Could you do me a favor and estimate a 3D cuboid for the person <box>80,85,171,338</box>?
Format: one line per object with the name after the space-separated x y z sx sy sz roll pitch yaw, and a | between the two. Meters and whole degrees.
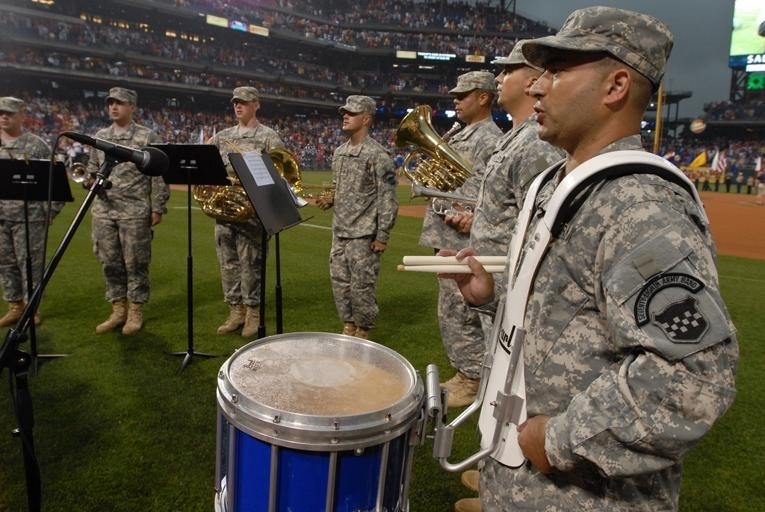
-2.958 -0.387 7.070 1.126 2.902 1.382 0 3 -15 | person

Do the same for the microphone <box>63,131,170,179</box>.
-1.721 -0.667 4.045 0.745 0.237 0.221 16 13 -32 | microphone

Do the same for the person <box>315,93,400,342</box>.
-0.239 -0.426 6.575 0.753 2.652 1.178 0 11 -6 | person

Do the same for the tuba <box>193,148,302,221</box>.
-1.312 -0.691 5.795 0.495 1.293 0.693 4 54 -5 | tuba

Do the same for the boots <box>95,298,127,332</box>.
-3.055 0.677 6.753 0.140 0.323 0.406 -4 4 35 | boots

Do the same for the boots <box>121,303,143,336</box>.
-2.796 0.695 6.659 0.164 0.311 0.268 -1 11 -7 | boots
